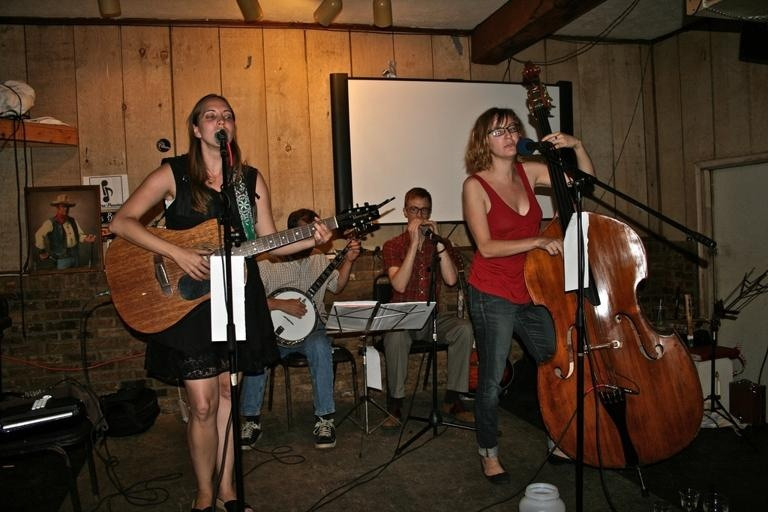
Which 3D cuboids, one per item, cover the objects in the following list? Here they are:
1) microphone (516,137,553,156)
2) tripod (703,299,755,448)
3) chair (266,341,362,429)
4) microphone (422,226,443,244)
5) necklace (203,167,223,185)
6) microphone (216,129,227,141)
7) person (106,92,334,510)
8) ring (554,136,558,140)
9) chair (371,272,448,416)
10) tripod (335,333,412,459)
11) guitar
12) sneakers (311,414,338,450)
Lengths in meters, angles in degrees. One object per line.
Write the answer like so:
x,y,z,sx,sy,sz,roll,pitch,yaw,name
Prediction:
1.017,-0.763,4.553,0.196,0.119,0.246,-5,8,-24,microphone
3.227,1.014,6.122,0.379,1.164,0.818,2,8,27,tripod
-0.673,1.260,6.599,0.790,0.693,0.674,-3,-4,-7,chair
0.423,-0.155,5.552,0.162,0.102,0.051,18,-31,-34,microphone
-1.213,-0.561,4.622,0.112,0.152,0.039,-3,3,-20,necklace
-1.071,-0.778,4.319,0.080,0.112,0.242,-3,7,-14,microphone
-1.235,0.373,4.635,1.166,3.002,0.572,-3,7,-9,person
1.256,-0.852,4.762,0.021,0.030,0.008,-1,11,-8,ring
0.339,0.960,6.643,0.739,1.177,0.672,-2,6,-2,chair
-0.268,1.277,6.415,0.903,1.261,0.814,-5,-6,42,tripod
-1.019,-0.063,4.782,1.978,0.818,0.273,-16,26,-6,guitar
-0.541,1.616,5.973,0.180,0.192,0.453,0,-15,0,sneakers
